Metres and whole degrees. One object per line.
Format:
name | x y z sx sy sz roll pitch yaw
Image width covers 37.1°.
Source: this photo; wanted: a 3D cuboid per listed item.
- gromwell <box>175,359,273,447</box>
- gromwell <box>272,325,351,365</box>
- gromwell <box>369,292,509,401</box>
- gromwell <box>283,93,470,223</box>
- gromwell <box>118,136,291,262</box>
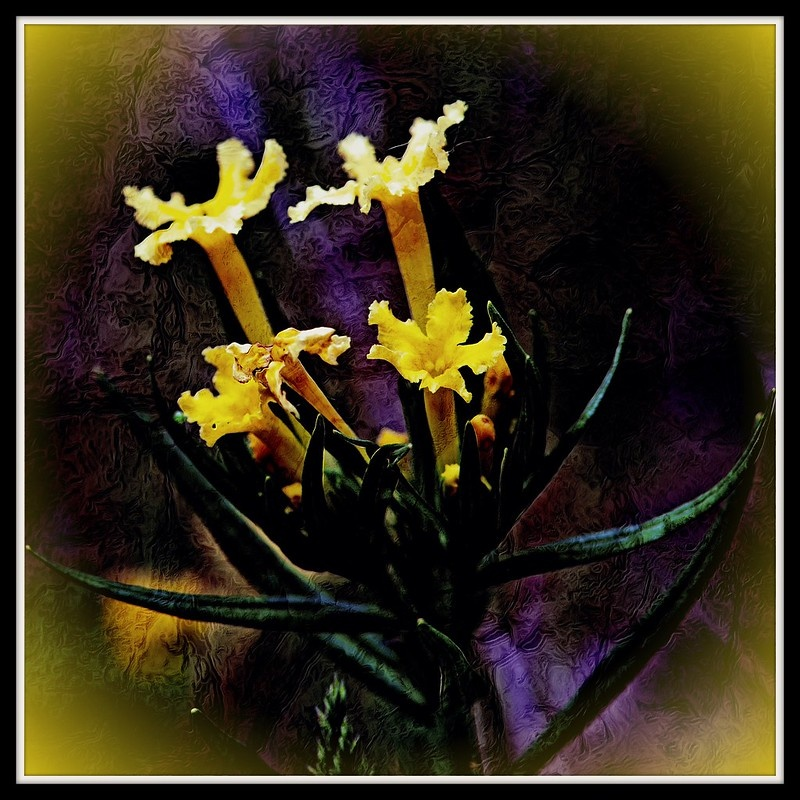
gromwell | -0.279 0.016 1.948 0.150 0.142 0.068 18 -3 17
gromwell | -0.141 -0.091 1.919 0.078 0.031 0.075 -8 -25 8
gromwell | 0.052 -0.061 1.925 0.187 0.183 0.098 -34 -16 -21
gromwell | -0.028 -0.420 2.076 0.301 0.139 0.297 -7 17 18
gromwell | -0.332 -0.351 2.074 0.288 0.167 0.181 -14 16 -6
